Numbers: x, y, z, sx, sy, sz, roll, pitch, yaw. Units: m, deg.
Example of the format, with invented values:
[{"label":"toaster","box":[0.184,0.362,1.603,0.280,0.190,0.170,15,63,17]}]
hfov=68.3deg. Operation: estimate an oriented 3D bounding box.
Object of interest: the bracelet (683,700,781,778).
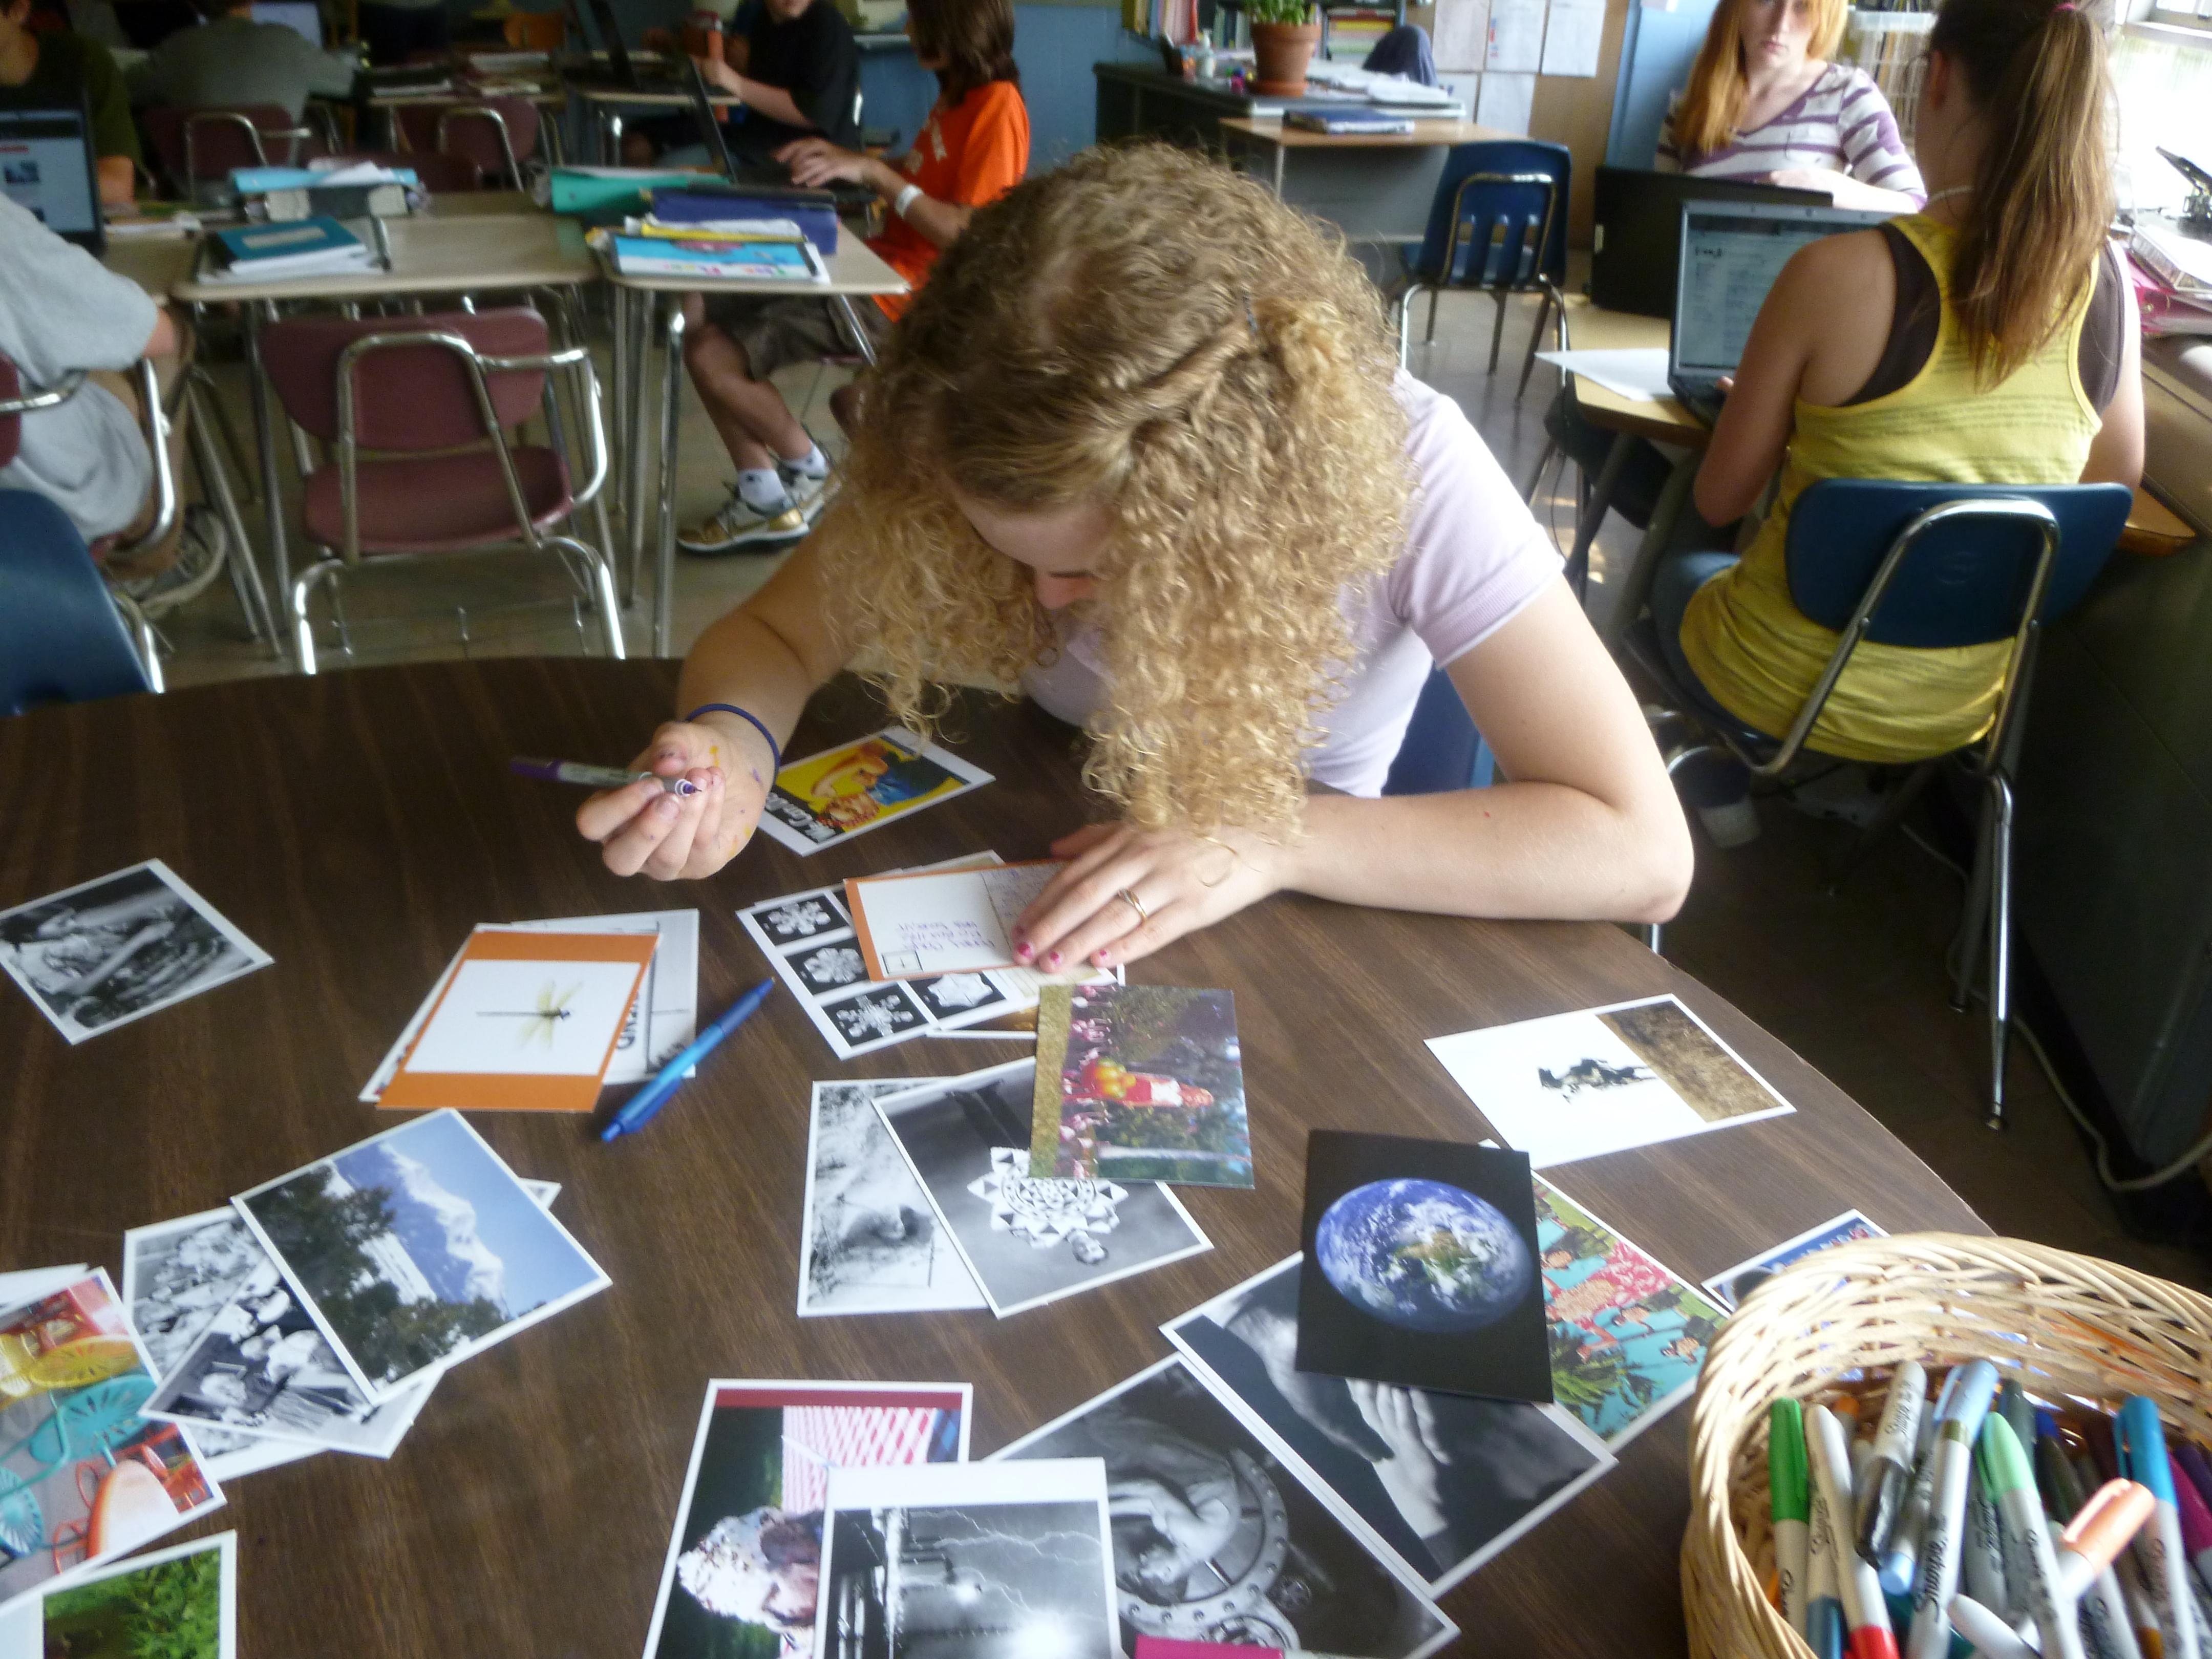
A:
[{"label":"bracelet","box":[-0.357,-0.093,1.560,0.070,0.057,0.075,32,73,4]}]

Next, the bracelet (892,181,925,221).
[{"label":"bracelet","box":[-0.496,-1.563,4.059,0.081,0.071,0.087,1,7,-20]}]

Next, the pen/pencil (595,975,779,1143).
[{"label":"pen/pencil","box":[-0.327,0.185,1.271,0.017,0.018,0.164,29,39,9]}]

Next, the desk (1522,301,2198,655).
[{"label":"desk","box":[1.178,-0.527,2.465,0.605,0.503,0.523,-12,47,-12]}]

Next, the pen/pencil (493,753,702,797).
[{"label":"pen/pencil","box":[-0.465,-0.048,1.492,0.120,0.020,0.021,10,-1,2]}]
